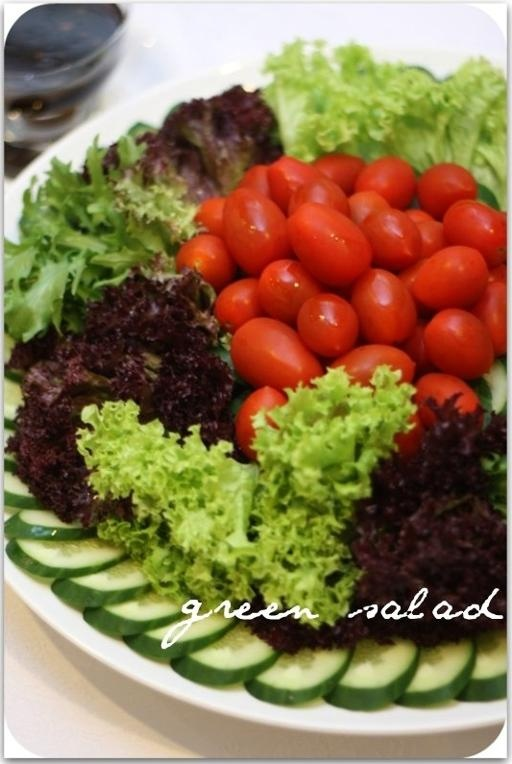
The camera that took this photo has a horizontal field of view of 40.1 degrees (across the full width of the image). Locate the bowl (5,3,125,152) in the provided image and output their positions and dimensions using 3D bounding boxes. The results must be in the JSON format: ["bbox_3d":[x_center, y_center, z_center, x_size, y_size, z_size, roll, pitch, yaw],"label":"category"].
[{"bbox_3d":[-0.442,-0.767,1.726,0.309,0.247,0.310,1,63,-3],"label":"bowl"}]

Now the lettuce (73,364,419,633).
[{"bbox_3d":[0.013,0.168,1.268,0.491,0.459,0.254,25,5,15],"label":"lettuce"}]
